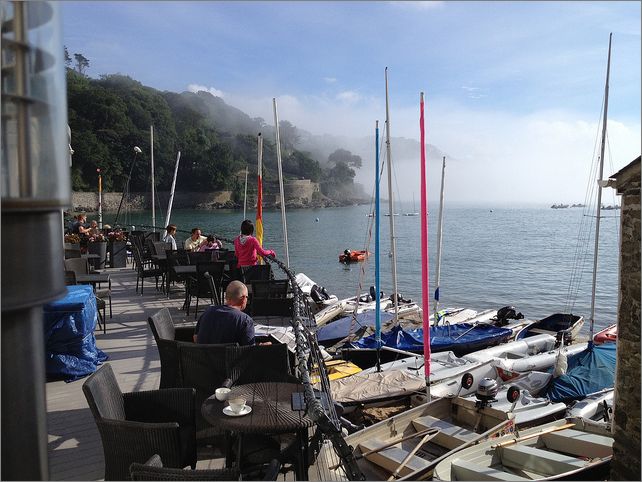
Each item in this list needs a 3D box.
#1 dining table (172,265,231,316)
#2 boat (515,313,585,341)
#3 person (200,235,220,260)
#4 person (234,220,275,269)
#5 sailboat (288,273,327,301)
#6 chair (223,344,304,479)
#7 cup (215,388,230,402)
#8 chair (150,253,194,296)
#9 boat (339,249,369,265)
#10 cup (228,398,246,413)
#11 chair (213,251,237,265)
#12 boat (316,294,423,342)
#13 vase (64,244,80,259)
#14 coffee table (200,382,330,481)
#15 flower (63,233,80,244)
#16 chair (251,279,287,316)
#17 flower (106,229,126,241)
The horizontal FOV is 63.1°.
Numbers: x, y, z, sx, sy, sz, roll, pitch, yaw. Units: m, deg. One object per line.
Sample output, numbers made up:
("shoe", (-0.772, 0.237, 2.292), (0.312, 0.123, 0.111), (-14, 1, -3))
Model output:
("dining table", (-2.191, 0.800, 9.582), (0.867, 1.267, 0.898), (-3, 15, -24))
("boat", (7.272, 2.716, 16.450), (2.523, 0.660, 0.882), (-17, 11, -36))
("person", (-2.477, 0.160, 11.650), (0.303, 0.343, 1.025), (6, -26, -4))
("person", (-1.120, 0.079, 8.968), (0.692, 0.785, 0.883), (10, -3, -7))
("sailboat", (-0.253, 1.443, 16.162), (1.043, 0.708, 2.648), (10, -3, 0))
("chair", (-0.342, 1.189, 3.669), (0.660, 1.153, 0.754), (0, -1, -4))
("cup", (-0.701, 1.080, 3.714), (0.083, 0.062, 0.088), (-1, 6, 0))
("chair", (-2.865, 0.628, 10.572), (0.608, 0.923, 0.617), (4, 8, 13))
("boat", (3.036, 1.202, 48.376), (2.390, 0.918, 1.381), (-12, 26, -44))
("cup", (-0.562, 1.101, 3.519), (0.108, 0.105, 0.135), (10, -3, -6))
("chair", (-2.073, 0.322, 11.289), (0.378, 0.391, 0.310), (0, -3, -17))
("boat", (1.293, 2.093, 14.260), (1.119, 0.894, 3.499), (2, 5, 39))
("vase", (-5.678, 0.244, 11.914), (0.295, 0.367, 0.283), (1, 1, 35))
("coffee table", (-0.376, 1.182, 3.621), (0.632, 0.453, 0.671), (0, -5, -4))
("flower", (-6.212, -0.042, 13.088), (0.298, 0.144, 0.317), (2, -2, 4))
("chair", (-0.754, 0.830, 7.645), (0.420, 0.778, 0.537), (0, 6, -3))
("flower", (-6.011, -0.124, 15.338), (0.509, 0.401, 0.464), (2, 3, -19))
